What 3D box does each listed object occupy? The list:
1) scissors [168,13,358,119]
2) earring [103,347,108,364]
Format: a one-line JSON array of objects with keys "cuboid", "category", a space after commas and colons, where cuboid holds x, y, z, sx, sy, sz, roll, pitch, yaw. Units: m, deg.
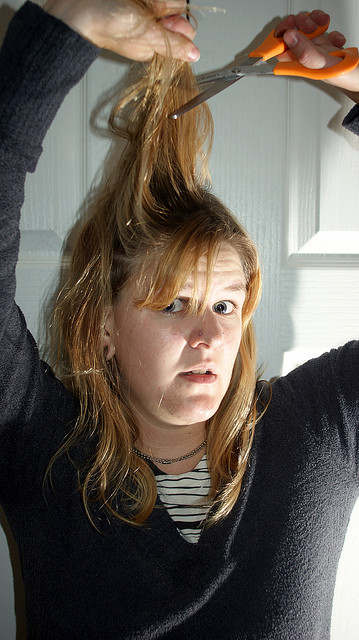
[{"cuboid": [0.108, -0.320, 0.692, 0.231, 0.019, 0.135, -34, 66, -16], "category": "scissors"}, {"cuboid": [-0.121, 0.052, 0.871, 0.005, 0.010, 0.014, 3, 93, -24], "category": "earring"}]
